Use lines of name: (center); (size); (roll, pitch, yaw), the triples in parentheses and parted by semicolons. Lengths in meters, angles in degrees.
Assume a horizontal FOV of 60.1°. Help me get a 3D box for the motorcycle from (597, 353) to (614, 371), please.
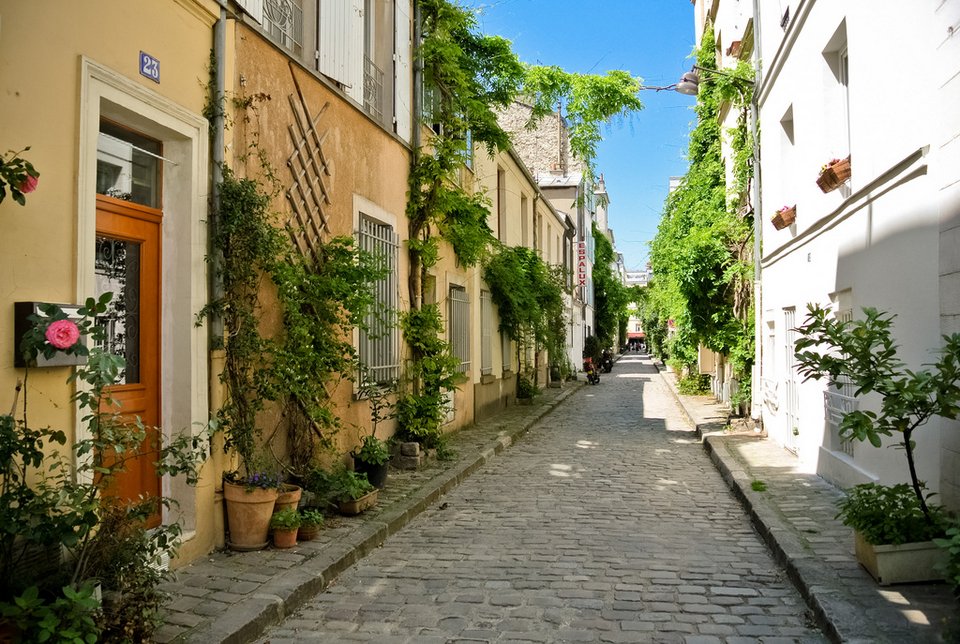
motorcycle: (6.029, 1.964, 39.818); (0.585, 0.765, 1.182); (-2, -8, 13)

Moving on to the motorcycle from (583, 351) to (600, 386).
motorcycle: (4.066, 1.798, 30.780); (0.501, 0.772, 1.269); (-2, 6, 17)
